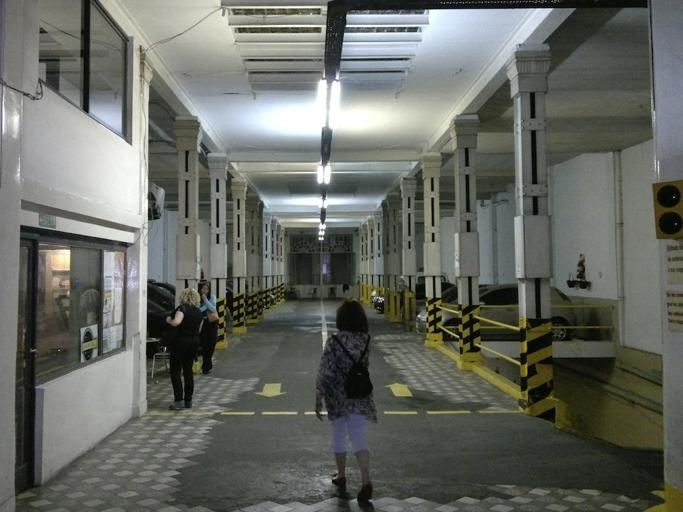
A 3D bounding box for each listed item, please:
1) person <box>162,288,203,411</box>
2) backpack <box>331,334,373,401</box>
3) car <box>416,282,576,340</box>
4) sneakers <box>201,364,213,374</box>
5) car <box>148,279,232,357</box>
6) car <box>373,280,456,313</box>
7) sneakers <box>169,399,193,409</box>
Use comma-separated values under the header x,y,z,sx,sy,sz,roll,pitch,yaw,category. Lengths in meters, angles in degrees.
x,y,z,sx,sy,sz,roll,pitch,yaw,category
-2.621,1.549,9.771,0.564,2.025,0.684,-3,-3,-17,person
0.004,1.310,6.588,0.424,0.624,0.680,0,2,-12,backpack
4.884,1.603,17.150,3.741,1.682,2.031,1,-3,2,car
-2.949,2.455,12.660,0.138,0.159,0.373,2,-13,-10,sneakers
-3.572,1.699,15.825,3.333,1.479,1.576,-1,1,-16,car
3.338,1.781,26.257,3.059,1.503,1.854,2,-4,1,car
-2.722,2.502,9.822,0.299,0.126,0.161,3,-3,-1,sneakers
